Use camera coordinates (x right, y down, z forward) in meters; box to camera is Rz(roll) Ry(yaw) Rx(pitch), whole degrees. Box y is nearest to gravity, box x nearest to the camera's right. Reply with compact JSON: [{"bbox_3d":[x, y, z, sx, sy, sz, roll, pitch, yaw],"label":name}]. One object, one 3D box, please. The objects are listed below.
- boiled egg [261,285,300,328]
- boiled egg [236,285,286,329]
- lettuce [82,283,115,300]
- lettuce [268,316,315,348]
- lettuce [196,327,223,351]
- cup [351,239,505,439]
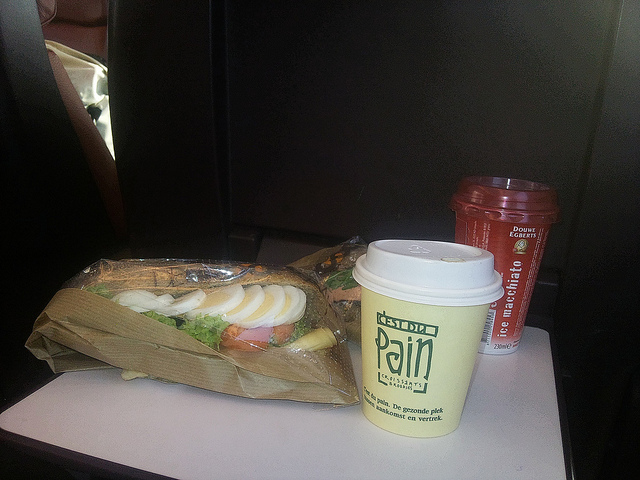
[{"bbox_3d":[-0.071,0.115,0.931,0.040,0.066,0.057,15,19,40],"label":"boiled egg"},{"bbox_3d":[-0.102,0.117,0.931,0.054,0.064,0.082,5,13,12],"label":"boiled egg"},{"bbox_3d":[-0.396,0.097,0.918,0.032,0.032,0.015,18,-16,-3],"label":"lettuce"},{"bbox_3d":[-0.047,0.161,0.928,0.057,0.050,0.024,-10,67,-31],"label":"lettuce"},{"bbox_3d":[-0.191,0.171,0.893,0.044,0.033,0.022,8,22,5],"label":"lettuce"},{"bbox_3d":[0.177,0.130,0.951,0.284,0.310,0.295,2,14,0],"label":"cup"}]
